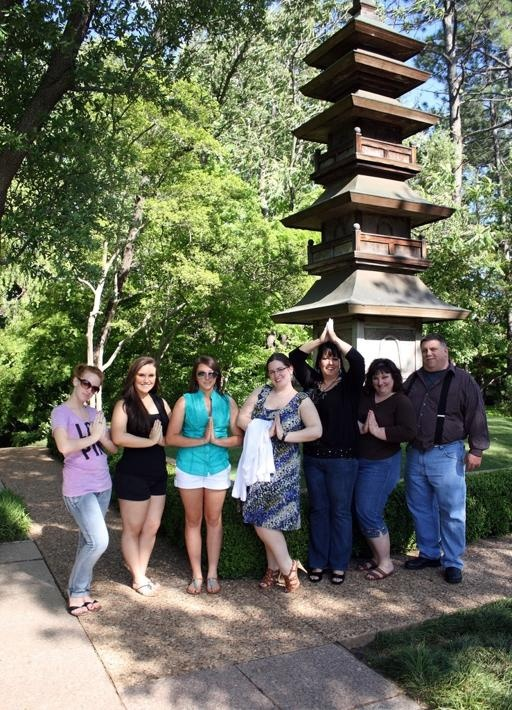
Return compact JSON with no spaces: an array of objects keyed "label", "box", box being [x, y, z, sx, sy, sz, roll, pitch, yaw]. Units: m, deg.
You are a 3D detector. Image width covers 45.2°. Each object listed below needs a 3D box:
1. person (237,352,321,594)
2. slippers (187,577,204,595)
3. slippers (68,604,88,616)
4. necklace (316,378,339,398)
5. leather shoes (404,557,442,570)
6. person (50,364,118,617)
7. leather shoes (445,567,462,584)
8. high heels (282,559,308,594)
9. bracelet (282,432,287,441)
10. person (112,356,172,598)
[{"label":"person","box":[0.165,0.848,4.437,0.592,1.711,0.524,2,-2,-8]},{"label":"slippers","box":[-0.427,1.644,4.353,0.088,0.065,0.175,1,-12,-5]},{"label":"slippers","box":[-1.125,1.615,3.892,0.109,0.057,0.079,2,-2,-18]},{"label":"necklace","box":[0.555,0.251,4.726,0.109,0.055,0.155,-15,5,40]},{"label":"leather shoes","box":[1.365,1.715,5.080,0.324,0.119,0.111,3,-2,-11]},{"label":"person","box":[-1.128,0.858,3.988,0.395,1.578,0.476,2,-2,-13]},{"label":"leather shoes","box":[1.522,1.700,4.734,0.114,0.106,0.119,1,-2,7]},{"label":"high heels","box":[0.303,1.575,4.507,0.096,0.124,0.319,33,20,3]},{"label":"bracelet","box":[0.195,0.573,4.233,0.028,0.060,0.074,1,-2,3]},{"label":"person","box":[-0.808,0.841,4.317,0.361,1.652,0.491,1,-2,7]}]
